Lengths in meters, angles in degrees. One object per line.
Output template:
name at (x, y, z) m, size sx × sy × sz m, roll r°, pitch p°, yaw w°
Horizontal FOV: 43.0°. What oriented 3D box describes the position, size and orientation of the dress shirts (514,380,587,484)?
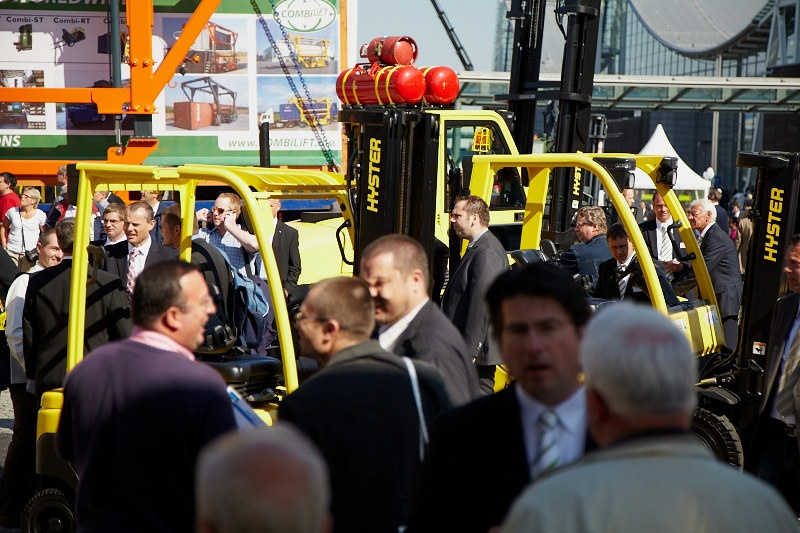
dress shirts at (0.879, 0.923, 5.689) m, size 0.323 × 0.536 × 0.547 m, roll 1°, pitch -15°, yaw -12°
